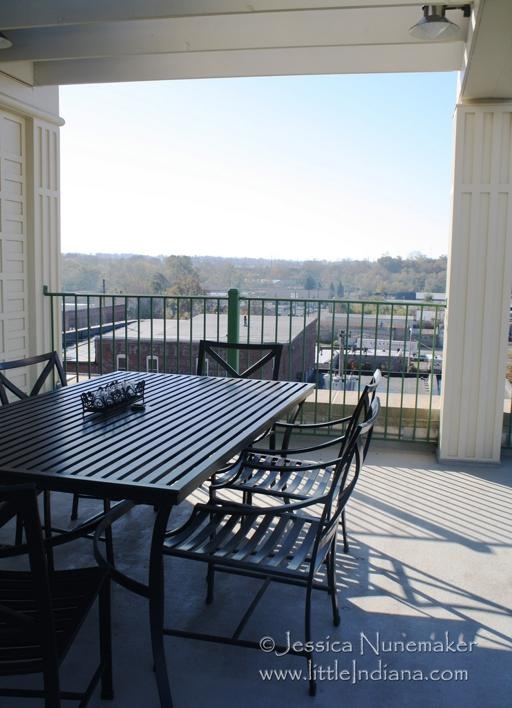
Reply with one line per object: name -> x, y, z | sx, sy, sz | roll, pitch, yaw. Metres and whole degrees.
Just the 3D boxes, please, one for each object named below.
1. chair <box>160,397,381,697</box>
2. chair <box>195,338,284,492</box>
chair -> 0.106, 0.623, 2.336 | 0.543, 0.789, 1.389 | 6, 2, 11
chair -> -0.100, 0.347, 3.782 | 0.517, 0.987, 0.583 | 3, 12, 4
